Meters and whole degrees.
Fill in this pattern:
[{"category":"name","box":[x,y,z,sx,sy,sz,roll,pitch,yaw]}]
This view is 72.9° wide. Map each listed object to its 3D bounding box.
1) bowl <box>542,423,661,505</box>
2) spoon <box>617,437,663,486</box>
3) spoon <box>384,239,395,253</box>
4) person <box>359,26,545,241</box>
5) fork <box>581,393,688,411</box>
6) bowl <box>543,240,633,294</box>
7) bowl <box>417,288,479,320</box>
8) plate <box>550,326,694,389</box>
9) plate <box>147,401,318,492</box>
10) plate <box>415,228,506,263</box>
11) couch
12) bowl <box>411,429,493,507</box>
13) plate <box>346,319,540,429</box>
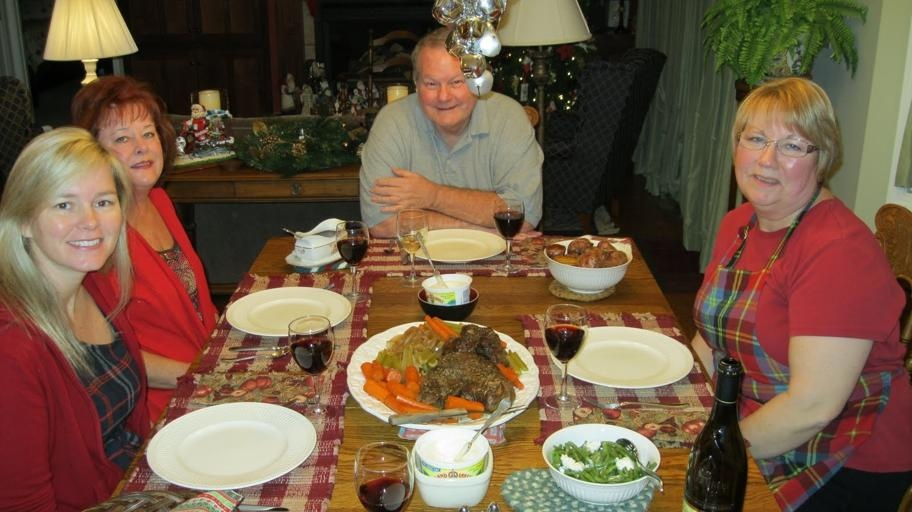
[{"category":"bowl","box":[0.427,0.603,1.817,0.278,0.104,0.231,13,24,32]},{"category":"spoon","box":[0.523,0.605,1.847,0.062,0.041,0.244,6,20,-17]},{"category":"spoon","box":[-0.331,-0.045,3.084,0.044,0.027,0.102,-2,13,-2]},{"category":"person","box":[-0.060,-0.450,3.629,1.051,1.559,0.925,-8,40,-9]},{"category":"fork","box":[0.606,0.501,2.092,0.271,0.022,0.030,2,50,5]},{"category":"bowl","box":[0.564,0.063,2.704,0.368,0.160,0.355,2,20,-1]},{"category":"bowl","box":[-0.031,0.202,2.444,0.154,0.057,0.148,1,16,0]},{"category":"plate","box":[0.630,0.381,2.239,0.296,0.029,0.283,-5,25,-6]},{"category":"plate","box":[-0.694,0.591,1.931,0.506,0.096,0.297,-4,22,-5]},{"category":"plate","box":[0.026,-0.043,2.968,0.241,0.030,0.231,-8,24,-17]},{"category":"couch","box":[1.504,-1.142,6.181,1.144,1.930,1.447,9,39,13]},{"category":"bowl","box":[-0.009,0.595,1.806,0.221,0.141,0.233,0,12,0]},{"category":"plate","box":[-0.045,0.410,2.124,0.652,0.193,0.517,2,22,11]}]
